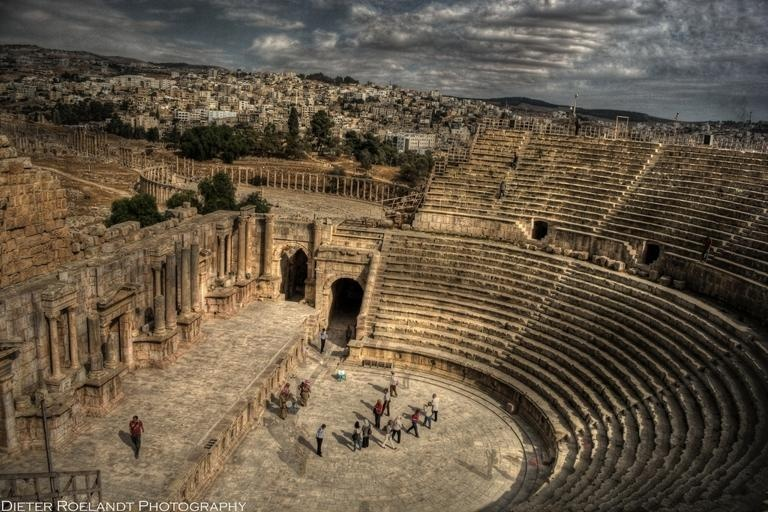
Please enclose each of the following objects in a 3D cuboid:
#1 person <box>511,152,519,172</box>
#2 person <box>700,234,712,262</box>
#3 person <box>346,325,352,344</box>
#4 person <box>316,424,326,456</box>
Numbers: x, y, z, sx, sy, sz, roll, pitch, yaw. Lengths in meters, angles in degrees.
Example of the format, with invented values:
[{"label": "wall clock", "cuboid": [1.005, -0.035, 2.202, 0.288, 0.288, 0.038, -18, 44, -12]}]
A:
[{"label": "person", "cuboid": [10.748, -7.780, 44.789, 0.632, 1.039, 1.842, 17, 24, 6]}, {"label": "person", "cuboid": [18.894, -0.456, 31.901, 0.379, 1.442, 0.875, 21, 10, 23]}, {"label": "person", "cuboid": [-2.479, 5.471, 37.948, 0.404, 1.182, 0.502, 7, -2, 21]}, {"label": "person", "cuboid": [-3.122, 9.162, 26.881, 0.604, 1.726, 0.667, -7, 55, -17]}]
